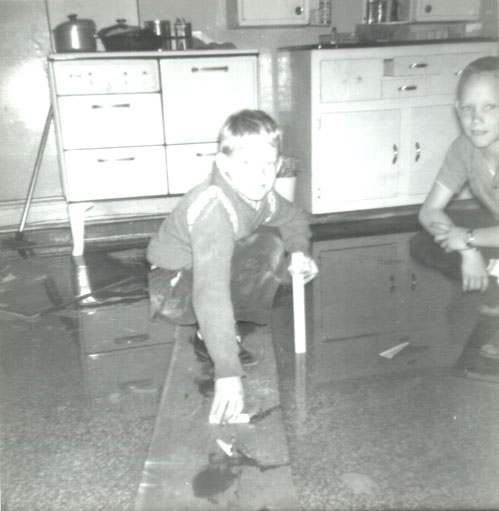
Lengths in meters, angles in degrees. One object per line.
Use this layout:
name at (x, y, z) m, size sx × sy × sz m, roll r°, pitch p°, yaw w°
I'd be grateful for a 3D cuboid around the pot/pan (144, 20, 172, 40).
pot/pan at (-0.275, -0.712, 1.676) m, size 0.084 × 0.059 × 0.083 m, roll 17°, pitch 32°, yaw 28°

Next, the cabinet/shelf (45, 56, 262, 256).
cabinet/shelf at (-0.270, -0.299, 1.462) m, size 0.656 × 0.601 × 0.247 m, roll -4°, pitch 16°, yaw -10°

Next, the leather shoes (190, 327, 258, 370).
leather shoes at (-0.047, 0.186, 1.081) m, size 0.051 × 0.100 × 0.147 m, roll -8°, pitch 1°, yaw -24°

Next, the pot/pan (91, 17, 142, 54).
pot/pan at (-0.429, -0.709, 1.725) m, size 0.133 × 0.111 × 0.365 m, roll -9°, pitch 20°, yaw -12°

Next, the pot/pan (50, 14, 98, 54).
pot/pan at (-0.532, -0.676, 1.660) m, size 0.140 × 0.119 × 0.140 m, roll -2°, pitch 9°, yaw -6°

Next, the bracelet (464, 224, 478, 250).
bracelet at (0.467, -0.034, 1.133) m, size 0.013 × 0.034 × 0.026 m, roll 4°, pitch 4°, yaw 1°

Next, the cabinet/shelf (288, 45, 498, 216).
cabinet/shelf at (0.417, -0.413, 1.682) m, size 0.634 × 0.458 × 0.243 m, roll -7°, pitch 25°, yaw -13°
